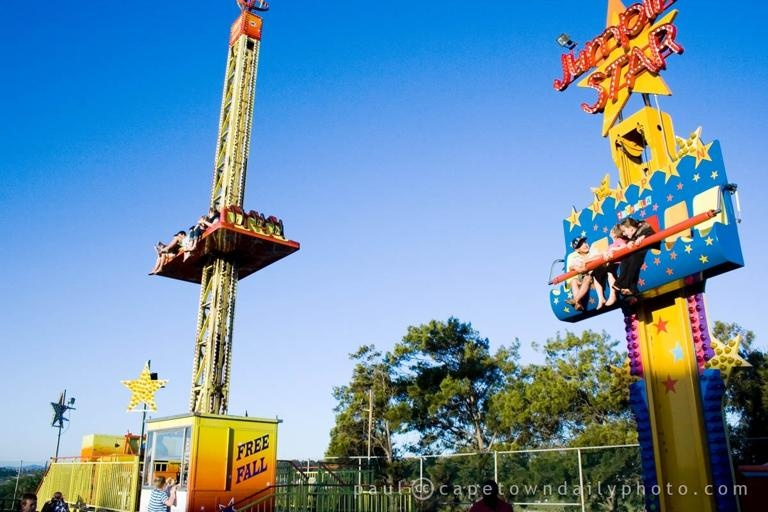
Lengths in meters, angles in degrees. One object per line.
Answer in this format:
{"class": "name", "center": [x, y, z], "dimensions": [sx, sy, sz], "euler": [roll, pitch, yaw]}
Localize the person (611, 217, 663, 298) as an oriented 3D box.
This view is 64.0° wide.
{"class": "person", "center": [8.250, -0.054, 20.224], "dimensions": [0.483, 2.520, 1.524], "euler": [10, -25, -25]}
